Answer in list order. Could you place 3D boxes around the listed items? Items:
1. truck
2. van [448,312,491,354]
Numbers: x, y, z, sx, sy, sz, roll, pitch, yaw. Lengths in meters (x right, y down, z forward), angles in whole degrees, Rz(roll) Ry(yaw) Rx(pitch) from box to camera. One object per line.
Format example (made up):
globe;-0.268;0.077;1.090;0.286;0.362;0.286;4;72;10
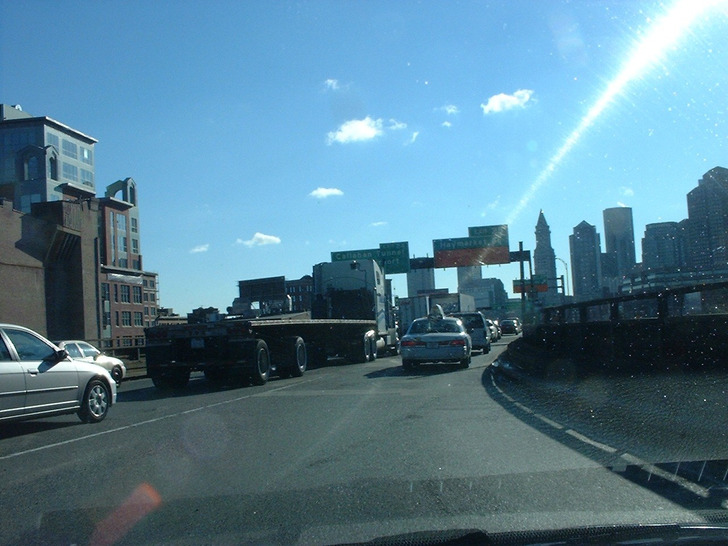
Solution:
truck;-2.445;1.937;25.915;3.578;4.402;13.135;-2;-2;27
van;5.708;2.874;33.160;1.303;1.404;2.814;0;1;12
